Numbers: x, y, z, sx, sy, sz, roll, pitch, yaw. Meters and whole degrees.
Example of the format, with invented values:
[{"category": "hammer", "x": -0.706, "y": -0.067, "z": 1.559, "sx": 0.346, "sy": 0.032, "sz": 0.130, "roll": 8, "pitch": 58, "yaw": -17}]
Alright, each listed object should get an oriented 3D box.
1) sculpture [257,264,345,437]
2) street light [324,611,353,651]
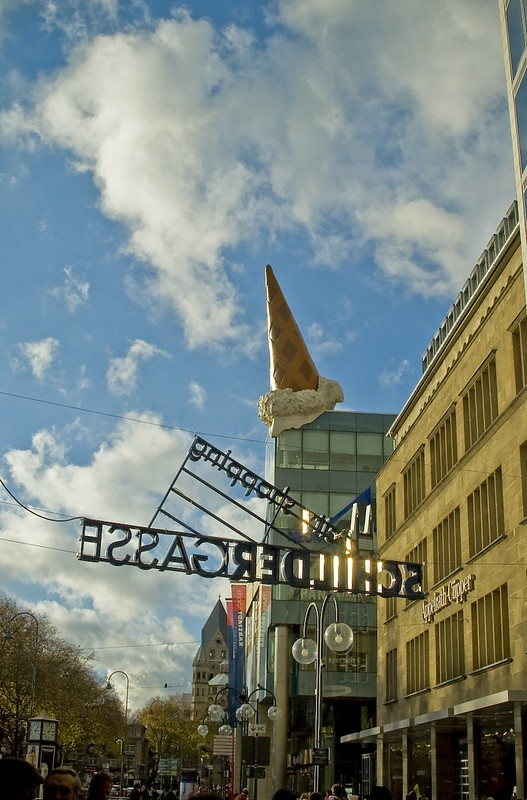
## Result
[{"category": "sculpture", "x": 0.882, "y": -1.638, "z": 26.626, "sx": 2.100, "sy": 5.158, "sz": 1.566, "roll": -3, "pitch": -20, "yaw": 13}, {"category": "street light", "x": 1.450, "y": 4.617, "z": 19.209, "sx": 0.450, "sy": 0.585, "sz": 0.831, "roll": -1, "pitch": -20, "yaw": 8}]
